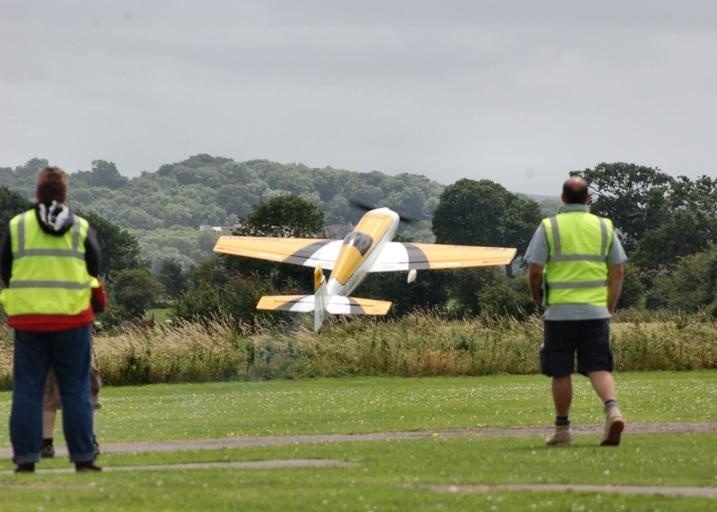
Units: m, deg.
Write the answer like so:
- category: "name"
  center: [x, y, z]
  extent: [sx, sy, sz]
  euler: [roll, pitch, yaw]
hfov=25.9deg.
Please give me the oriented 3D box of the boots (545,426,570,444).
- category: "boots"
  center: [3.569, 3.239, 28.543]
  extent: [0.207, 0.399, 0.603]
  euler: [-2, 8, -27]

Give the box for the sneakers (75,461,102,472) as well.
- category: "sneakers"
  center: [-4.798, 3.745, 28.015]
  extent: [0.452, 0.179, 0.195]
  euler: [1, -3, -14]

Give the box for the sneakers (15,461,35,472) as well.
- category: "sneakers"
  center: [-5.943, 3.755, 28.024]
  extent: [0.190, 0.188, 0.226]
  euler: [3, -4, 35]

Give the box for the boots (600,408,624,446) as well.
- category: "boots"
  center: [4.553, 3.037, 28.055]
  extent: [0.301, 0.782, 0.357]
  euler: [-4, 37, -9]
